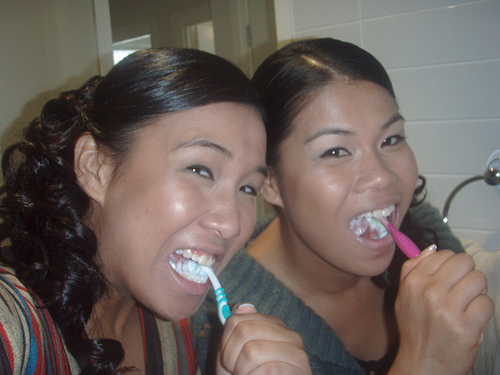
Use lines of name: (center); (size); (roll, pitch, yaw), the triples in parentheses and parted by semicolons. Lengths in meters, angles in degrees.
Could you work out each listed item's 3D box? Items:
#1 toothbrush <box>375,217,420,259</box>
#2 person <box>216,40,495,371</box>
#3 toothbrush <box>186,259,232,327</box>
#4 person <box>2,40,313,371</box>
toothbrush: (0.368, 0.124, 1.264); (0.030, 0.032, 0.176); (8, 41, -44)
person: (0.261, 0.091, 1.413); (0.661, 1.002, 0.353); (-8, 4, -26)
toothbrush: (-0.092, 0.232, 1.203); (0.060, 0.068, 0.242); (-28, 42, -2)
person: (-0.187, 0.055, 1.494); (0.787, 1.097, 0.701); (2, -2, 32)
